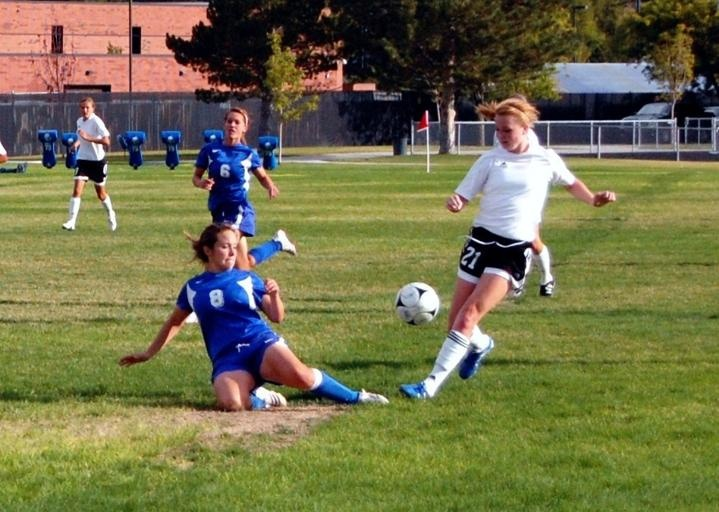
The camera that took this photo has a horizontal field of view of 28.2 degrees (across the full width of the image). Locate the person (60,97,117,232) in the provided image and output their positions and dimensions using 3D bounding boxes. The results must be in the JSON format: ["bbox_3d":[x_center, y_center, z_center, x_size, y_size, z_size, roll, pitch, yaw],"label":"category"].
[{"bbox_3d":[-6.316,-2.337,33.698,1.247,3.439,1.180,-5,21,-26],"label":"person"}]

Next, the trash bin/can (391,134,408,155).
[{"bbox_3d":[1.661,-4.709,60.496,0.932,1.022,0.923,-1,5,0],"label":"trash bin/can"}]
